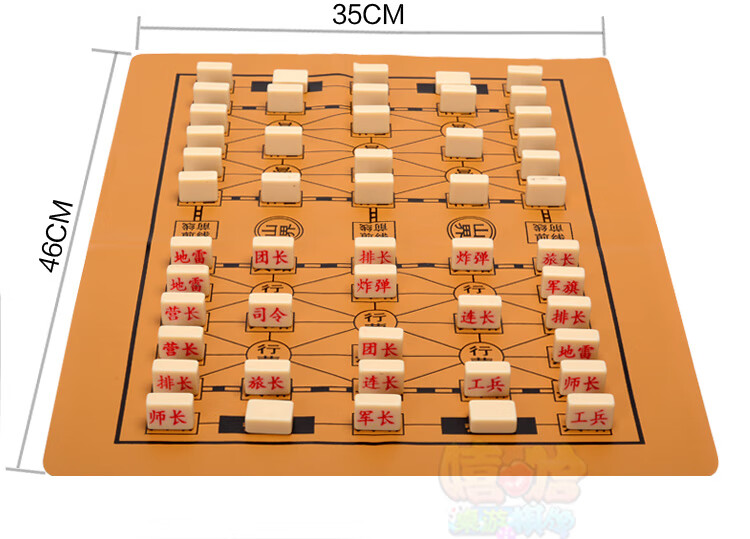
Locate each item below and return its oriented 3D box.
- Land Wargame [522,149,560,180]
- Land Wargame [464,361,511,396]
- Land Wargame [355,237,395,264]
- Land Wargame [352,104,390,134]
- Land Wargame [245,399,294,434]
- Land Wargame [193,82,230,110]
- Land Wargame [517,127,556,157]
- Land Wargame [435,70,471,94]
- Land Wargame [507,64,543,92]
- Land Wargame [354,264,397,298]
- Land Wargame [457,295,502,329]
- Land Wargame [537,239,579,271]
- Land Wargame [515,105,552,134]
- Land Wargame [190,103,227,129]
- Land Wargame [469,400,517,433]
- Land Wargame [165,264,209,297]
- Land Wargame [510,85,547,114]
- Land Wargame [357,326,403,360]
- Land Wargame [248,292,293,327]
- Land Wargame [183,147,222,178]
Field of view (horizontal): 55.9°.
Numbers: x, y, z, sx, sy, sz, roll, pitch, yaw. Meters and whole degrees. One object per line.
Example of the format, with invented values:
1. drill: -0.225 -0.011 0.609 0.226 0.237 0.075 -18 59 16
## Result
1. Land Wargame: 1.610 -1.046 6.981 0.531 0.303 0.256 0 32 -1
2. Land Wargame: 0.857 0.881 5.504 0.360 0.197 0.191 1 3 2
3. Land Wargame: -0.002 -0.157 6.204 0.454 0.265 0.214 1 41 -1
4. Land Wargame: -0.048 -1.547 7.322 0.541 0.308 0.261 1 33 -2
5. Land Wargame: -0.795 1.093 5.257 0.349 0.145 0.238 0 52 0
6. Land Wargame: -1.723 -1.881 7.507 0.511 0.314 0.242 4 35 -2
7. Land Wargame: 1.630 -1.323 7.166 0.485 0.275 0.234 0 29 0
8. Land Wargame: 0.847 -2.116 7.761 0.384 0.149 0.233 0 42 0
9. Land Wargame: 1.653 -2.139 7.778 0.483 0.225 0.284 1 37 3
10. Land Wargame: -0.007 0.073 6.049 0.381 0.239 0.275 0 53 0
11. Land Wargame: 0.851 0.369 5.928 0.407 0.220 0.201 0 16 -5
12. Land Wargame: 1.620 -0.141 6.253 0.474 0.274 0.228 0 34 0
13. Land Wargame: 1.643 -1.586 7.371 0.502 0.289 0.242 -1 31 -1
14. Land Wargame: -1.736 -1.604 7.308 0.462 0.276 0.221 4 35 -2
15. Land Wargame: 0.883 1.103 5.314 0.350 0.143 0.231 0 52 0
16. Land Wargame: -1.614 0.048 6.019 0.462 0.248 0.225 4 26 -3
17. Land Wargame: 1.645 -1.860 7.575 0.526 0.286 0.256 -1 33 -1
18. Land Wargame: 0.031 0.570 5.645 0.356 0.192 0.281 -2 53 -2
19. Land Wargame: -0.909 0.384 5.881 0.385 0.210 0.205 3 -4 -21
20. Land Wargame: -1.698 -1.071 6.899 0.483 0.276 0.228 3 36 -3
